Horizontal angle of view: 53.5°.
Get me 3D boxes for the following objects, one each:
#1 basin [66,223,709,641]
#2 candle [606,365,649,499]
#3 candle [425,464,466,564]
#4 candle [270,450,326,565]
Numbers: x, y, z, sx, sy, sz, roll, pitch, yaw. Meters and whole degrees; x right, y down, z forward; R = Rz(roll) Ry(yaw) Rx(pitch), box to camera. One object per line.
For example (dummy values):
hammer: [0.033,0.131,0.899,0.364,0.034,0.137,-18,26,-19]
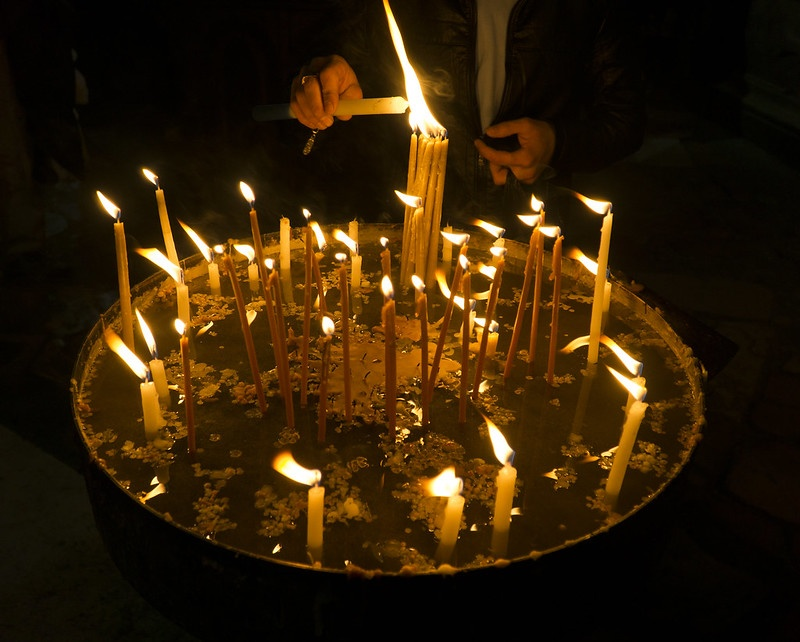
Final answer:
basin: [-0.005,0.370,2.312,1.248,0.319,1.226,1,30,-1]
candle: [0.692,0.354,2.412,0.051,0.412,0.050,-12,37,-32]
candle: [0.131,0.499,2.217,0.105,0.245,0.273,0,24,-6]
candle: [-0.283,0.479,2.244,0.136,0.245,0.336,-1,24,-9]
